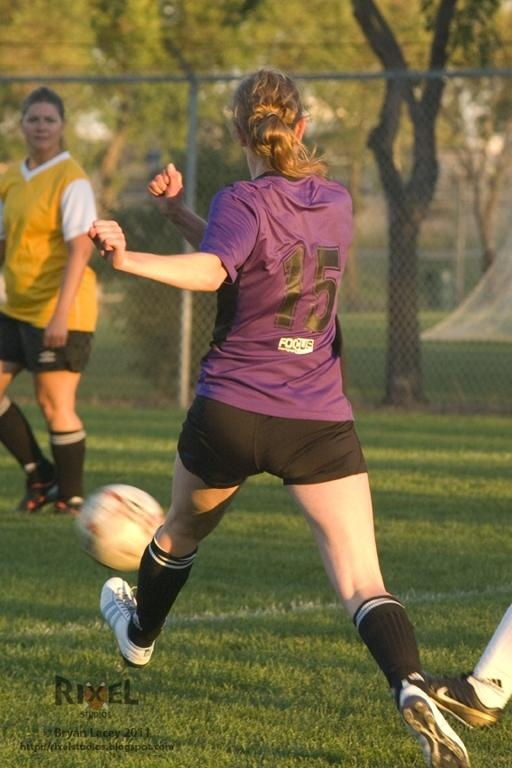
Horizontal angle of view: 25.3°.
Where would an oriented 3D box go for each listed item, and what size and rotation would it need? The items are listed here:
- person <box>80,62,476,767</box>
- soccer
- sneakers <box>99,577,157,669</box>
[{"bbox_3d":[0.042,0.052,2.981,1.013,1.757,0.863,2,8,5],"label":"person"},{"bbox_3d":[-0.442,0.445,3.691,0.316,0.228,0.239,23,-3,-6],"label":"soccer"},{"bbox_3d":[-0.439,0.718,3.592,0.123,0.146,0.344,0,41,-23],"label":"sneakers"}]
